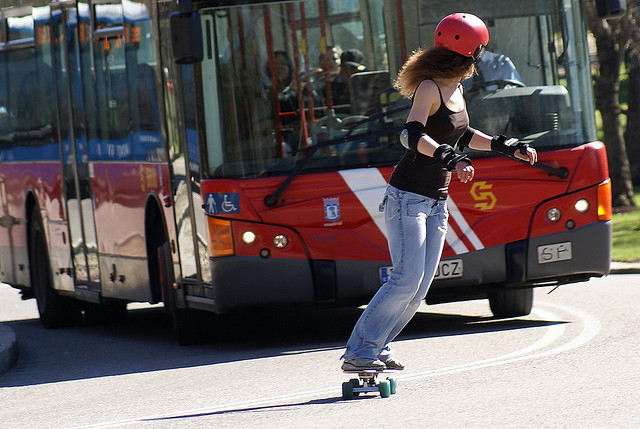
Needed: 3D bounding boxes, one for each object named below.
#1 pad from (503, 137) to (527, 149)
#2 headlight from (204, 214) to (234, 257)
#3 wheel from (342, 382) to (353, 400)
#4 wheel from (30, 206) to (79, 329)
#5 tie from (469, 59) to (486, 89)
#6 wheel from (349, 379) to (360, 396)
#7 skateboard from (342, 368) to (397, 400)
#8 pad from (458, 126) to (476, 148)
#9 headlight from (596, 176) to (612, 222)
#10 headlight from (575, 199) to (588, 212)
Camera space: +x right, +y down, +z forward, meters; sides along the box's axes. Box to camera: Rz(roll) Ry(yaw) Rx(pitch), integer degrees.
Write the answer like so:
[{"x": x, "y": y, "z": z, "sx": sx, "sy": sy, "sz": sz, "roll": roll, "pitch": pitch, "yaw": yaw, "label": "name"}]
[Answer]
[{"x": 1.650, "y": -0.607, "z": 8.745, "sx": 0.077, "sy": 0.056, "sz": 0.226, "roll": 17, "pitch": -3, "yaw": -41, "label": "pad"}, {"x": -1.042, "y": 0.224, "z": 10.711, "sx": 0.277, "sy": 0.427, "sz": 0.070, "roll": -4, "pitch": 5, "yaw": 29, "label": "headlight"}, {"x": 0.239, "y": 1.492, "z": 8.703, "sx": 0.090, "sy": 0.147, "sz": 0.053, "roll": -6, "pitch": 4, "yaw": -4, "label": "wheel"}, {"x": -3.967, "y": 0.761, "z": 14.936, "sx": 0.763, "sy": 1.337, "sz": 0.394, "roll": -3, "pitch": 5, "yaw": 38, "label": "wheel"}, {"x": 1.693, "y": -1.511, "z": 11.034, "sx": 0.078, "sy": 0.286, "sz": 0.322, "roll": 9, "pitch": 12, "yaw": 21, "label": "tie"}, {"x": 0.304, "y": 1.472, "z": 8.708, "sx": 0.111, "sy": 0.135, "sz": 0.122, "roll": 1, "pitch": 9, "yaw": 0, "label": "wheel"}, {"x": 0.419, "y": 1.445, "z": 8.700, "sx": 0.302, "sy": 0.182, "sz": 0.570, "roll": 0, "pitch": 3, "yaw": 7, "label": "skateboard"}, {"x": 1.272, "y": -0.658, "z": 8.928, "sx": 0.069, "sy": 0.171, "sz": 0.131, "roll": 23, "pitch": 31, "yaw": -1, "label": "pad"}, {"x": 3.081, "y": -0.162, "z": 11.099, "sx": 0.089, "sy": 0.457, "sz": 0.306, "roll": -3, "pitch": 5, "yaw": 34, "label": "headlight"}, {"x": 2.788, "y": -0.098, "z": 10.977, "sx": 0.150, "sy": 0.139, "sz": 0.034, "roll": 1, "pitch": -1, "yaw": -2, "label": "headlight"}]
